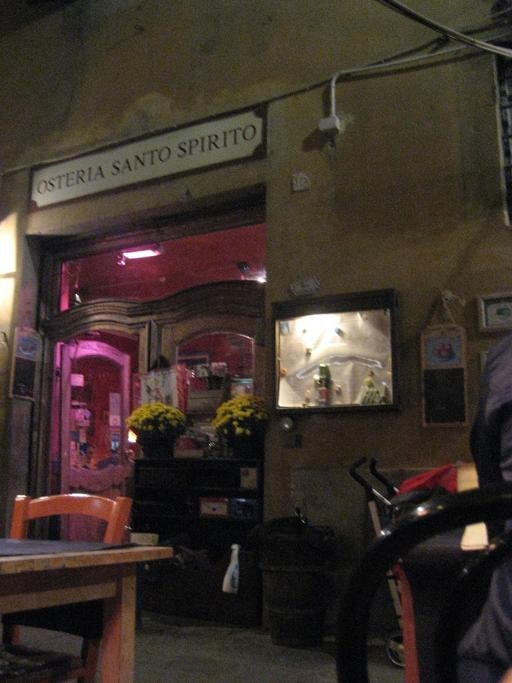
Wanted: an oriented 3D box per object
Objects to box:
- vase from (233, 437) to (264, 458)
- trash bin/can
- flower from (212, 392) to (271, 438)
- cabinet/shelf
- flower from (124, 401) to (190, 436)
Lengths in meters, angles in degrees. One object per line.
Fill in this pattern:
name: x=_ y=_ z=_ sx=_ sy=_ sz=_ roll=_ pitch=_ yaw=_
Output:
vase: x=-0.064 y=0.742 z=4.552 sx=0.172 sy=0.117 sz=0.164 roll=2 pitch=-10 yaw=-12
trash bin/can: x=0.232 y=1.431 z=3.810 sx=0.463 sy=0.592 sz=0.431 roll=1 pitch=-18 yaw=-2
flower: x=-0.104 y=0.521 z=4.495 sx=0.504 sy=0.286 sz=0.185 roll=-12 pitch=-18 yaw=42
cabinet/shelf: x=-0.380 y=1.278 z=4.687 sx=0.952 sy=0.813 sz=0.277 roll=-2 pitch=-1 yaw=2
flower: x=-0.783 y=0.589 z=4.982 sx=0.291 sy=0.171 sz=0.309 roll=5 pitch=-8 yaw=-32
